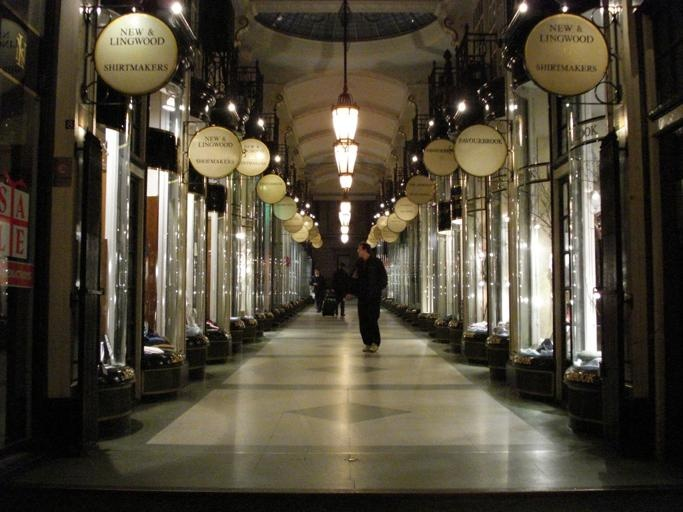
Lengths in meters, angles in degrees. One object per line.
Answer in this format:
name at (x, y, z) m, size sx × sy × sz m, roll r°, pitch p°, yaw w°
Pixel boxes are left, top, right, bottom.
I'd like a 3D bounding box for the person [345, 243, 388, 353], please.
person at (0.513, 0.768, 12.170) m, size 0.644 × 2.039 × 1.085 m, roll 1°, pitch -6°, yaw 3°
